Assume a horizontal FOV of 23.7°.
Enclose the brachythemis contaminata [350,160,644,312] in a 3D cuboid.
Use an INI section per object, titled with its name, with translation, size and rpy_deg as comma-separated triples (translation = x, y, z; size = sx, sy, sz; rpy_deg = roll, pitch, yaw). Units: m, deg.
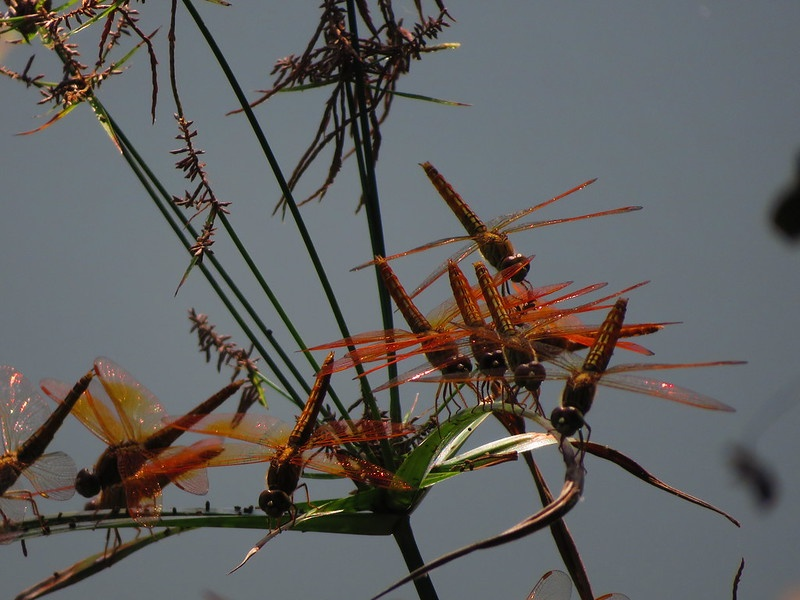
[brachythemis contaminata]
translation = 0.118, -0.079, 2.552
size = 0.329, 0.209, 0.044
rpy_deg = -24, -39, -15
